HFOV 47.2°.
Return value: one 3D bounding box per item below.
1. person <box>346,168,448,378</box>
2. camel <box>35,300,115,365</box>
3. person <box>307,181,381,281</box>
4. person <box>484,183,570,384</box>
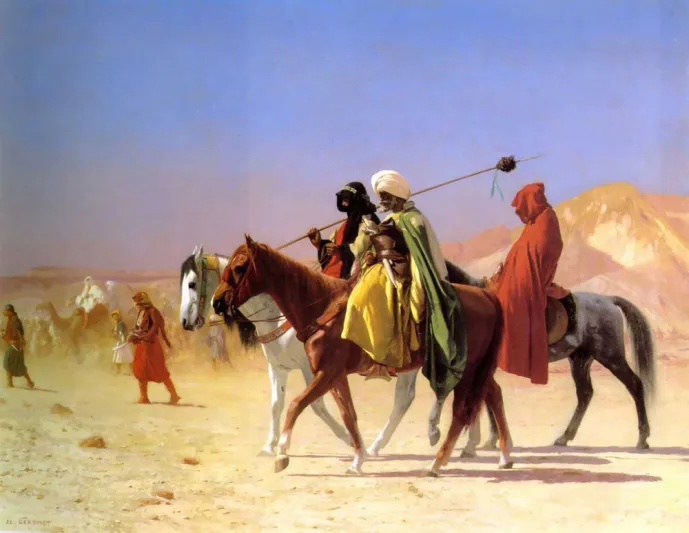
[{"bbox_3d":[0.540,0.236,8.302,0.781,2.477,0.791,0,3,39],"label":"person"},{"bbox_3d":[-5.579,1.233,15.423,2.061,1.500,0.686,2,-11,-4],"label":"camel"},{"bbox_3d":[-0.003,-0.416,9.348,0.547,1.358,0.609,-6,6,-40],"label":"person"},{"bbox_3d":[2.252,0.163,9.501,1.135,2.248,0.874,6,10,19],"label":"person"}]
